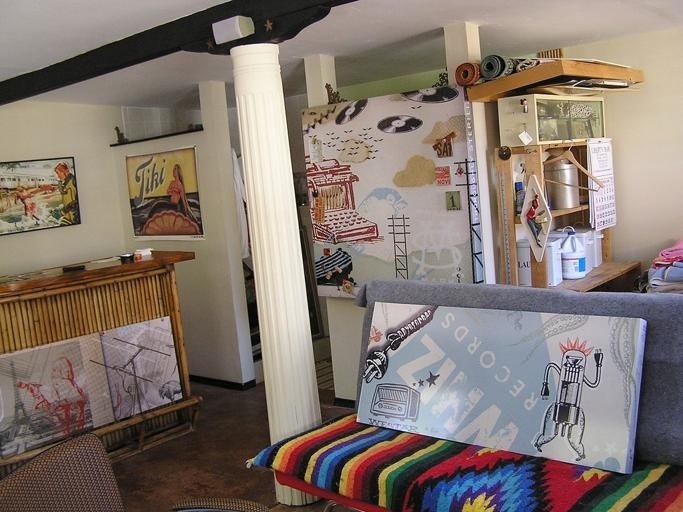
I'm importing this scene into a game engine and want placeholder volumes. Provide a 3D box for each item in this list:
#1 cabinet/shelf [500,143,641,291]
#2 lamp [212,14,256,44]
[{"bbox_3d":[1.838,-0.328,4.116,0.703,1.125,1.304,1,10,36],"label":"cabinet/shelf"},{"bbox_3d":[-0.676,-1.401,3.168,0.218,0.147,0.105,-6,-6,18],"label":"lamp"}]
